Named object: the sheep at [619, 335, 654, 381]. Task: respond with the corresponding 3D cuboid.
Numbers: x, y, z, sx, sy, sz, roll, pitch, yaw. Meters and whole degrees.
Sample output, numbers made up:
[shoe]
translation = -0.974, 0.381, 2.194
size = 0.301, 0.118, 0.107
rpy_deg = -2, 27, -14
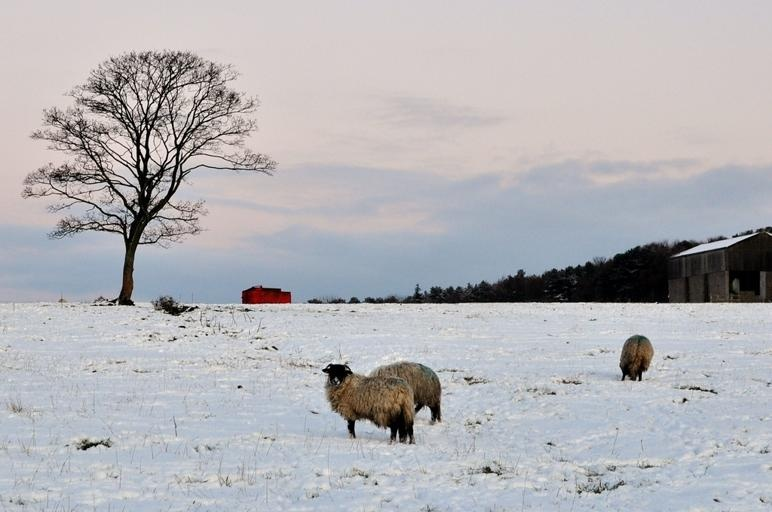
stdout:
[sheep]
translation = 11.080, 4.528, 55.289
size = 1.329, 1.959, 1.178
rpy_deg = 2, 5, 9
